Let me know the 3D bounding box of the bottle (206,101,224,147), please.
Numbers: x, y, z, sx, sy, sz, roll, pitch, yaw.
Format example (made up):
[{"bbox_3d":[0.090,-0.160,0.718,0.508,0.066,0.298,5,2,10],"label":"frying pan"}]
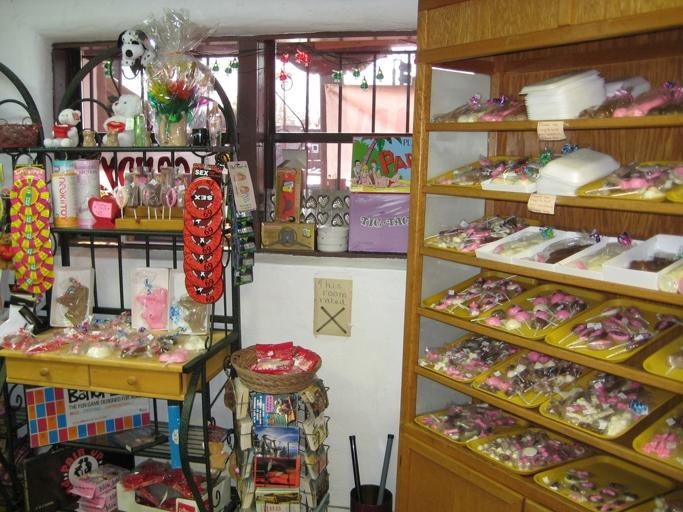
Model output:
[{"bbox_3d":[-0.670,-0.723,3.031,0.078,0.275,0.253,-2,4,-12],"label":"bottle"}]

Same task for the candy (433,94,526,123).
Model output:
[{"bbox_3d":[0.643,-0.678,2.597,0.288,0.084,0.216,5,11,38],"label":"candy"}]

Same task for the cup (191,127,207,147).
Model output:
[{"bbox_3d":[-0.719,-0.628,2.916,0.077,0.105,0.056,0,4,21],"label":"cup"}]

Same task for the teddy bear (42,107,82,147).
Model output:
[{"bbox_3d":[-1.552,-0.734,3.162,0.181,0.237,0.166,-2,4,-12],"label":"teddy bear"}]

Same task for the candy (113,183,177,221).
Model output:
[{"bbox_3d":[-1.026,-0.307,3.080,0.348,0.203,0.105,-1,4,4],"label":"candy"}]

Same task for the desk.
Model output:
[{"bbox_3d":[-1.179,0.001,3.352,1.441,2.728,0.649,0,4,28],"label":"desk"}]

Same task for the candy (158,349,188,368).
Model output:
[{"bbox_3d":[-0.857,0.517,2.939,0.142,0.051,0.138,-2,4,-12],"label":"candy"}]
